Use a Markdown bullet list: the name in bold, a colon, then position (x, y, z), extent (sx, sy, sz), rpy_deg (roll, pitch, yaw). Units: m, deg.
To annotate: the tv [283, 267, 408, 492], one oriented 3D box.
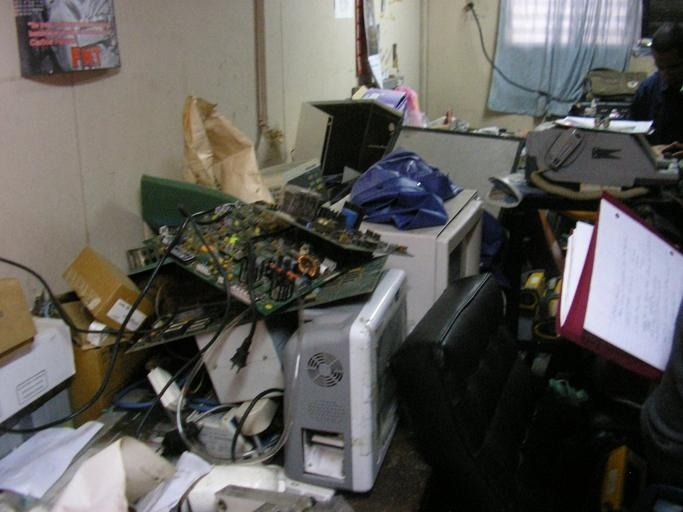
- **tv**: position (0.015, 0.286, 1.351), extent (0.247, 0.384, 0.394), rpy_deg (5, 27, 11)
